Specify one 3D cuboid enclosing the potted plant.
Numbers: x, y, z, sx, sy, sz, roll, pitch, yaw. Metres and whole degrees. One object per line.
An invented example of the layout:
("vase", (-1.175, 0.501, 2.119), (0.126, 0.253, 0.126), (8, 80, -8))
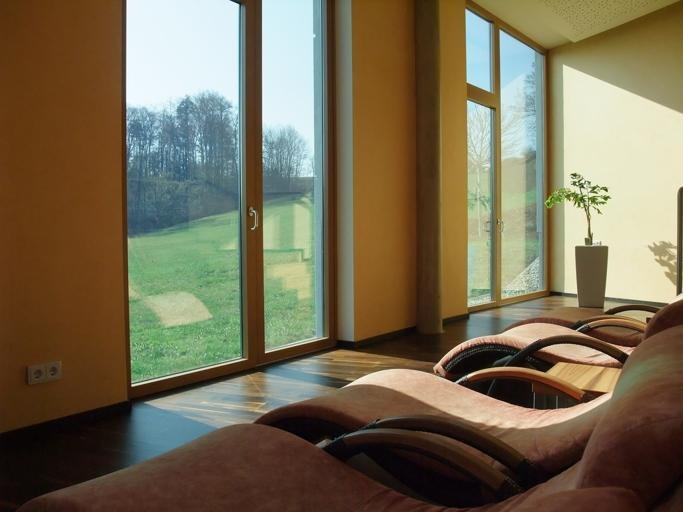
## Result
("potted plant", (3.339, -0.277, 7.165), (0.848, 1.855, 2.297), (2, 5, 23))
